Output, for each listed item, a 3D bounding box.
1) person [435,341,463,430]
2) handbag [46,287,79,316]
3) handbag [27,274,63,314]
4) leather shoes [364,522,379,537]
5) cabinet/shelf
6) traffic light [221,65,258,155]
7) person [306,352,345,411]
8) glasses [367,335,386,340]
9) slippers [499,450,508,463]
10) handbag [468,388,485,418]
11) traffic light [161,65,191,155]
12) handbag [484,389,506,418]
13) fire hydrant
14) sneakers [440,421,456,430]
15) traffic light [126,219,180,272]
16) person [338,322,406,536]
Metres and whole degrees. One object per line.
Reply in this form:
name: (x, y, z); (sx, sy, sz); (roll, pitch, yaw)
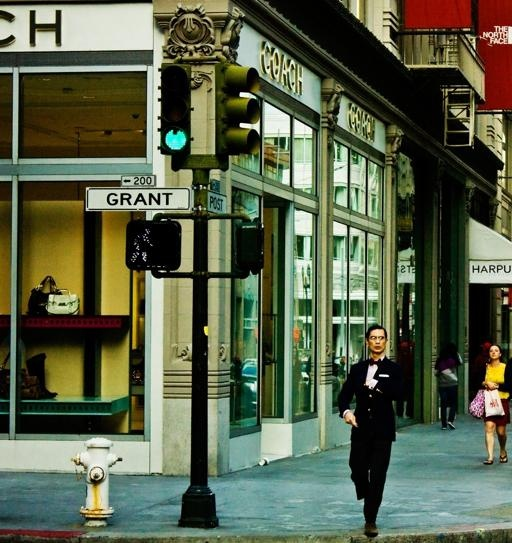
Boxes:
person: (3.516, 2.085, 25.139); (0.439, 1.562, 1.043); (-2, -5, 8)
handbag: (-2.376, 0.384, 17.010); (0.438, 0.423, 0.245); (0, -8, -3)
handbag: (-2.611, 0.289, 17.009); (0.362, 0.560, 0.219); (4, -9, -6)
leather shoes: (1.066, 2.403, 12.796); (0.123, 0.116, 0.180); (-2, -6, 5)
cabinet/shelf: (-2.222, 0.932, 16.877); (1.468, 1.723, 0.534); (-1, -6, 9)
traffic light: (-0.164, -1.535, 13.025); (0.312, 0.894, 0.313); (1, 0, 8)
person: (0.938, 1.568, 20.610); (0.412, 0.896, 0.478); (-13, -11, 30)
glasses: (1.154, 0.631, 13.163); (0.145, 0.056, 0.059); (-1, -5, -5)
slippers: (3.415, 2.542, 19.026); (0.079, 0.106, 0.254); (-2, 13, 8)
handbag: (3.055, 1.820, 19.057); (0.210, 0.396, 0.489); (-2, -6, 8)
traffic light: (-0.756, -1.534, 12.907); (0.271, 0.816, 0.233); (-1, -5, -8)
handbag: (3.243, 1.787, 18.797); (0.282, 0.529, 0.159); (-4, -12, -7)
fire hydrant: (-1.515, 1.994, 13.079); (0.421, 0.818, 0.351); (-1, -5, -9)
sneakers: (3.491, 2.783, 25.024); (0.107, 0.148, 0.338); (0, 1, 22)
traffic light: (-0.962, -0.255, 12.966); (0.411, 0.483, 0.150); (0, 2, 8)
person: (1.054, 1.504, 13.185); (0.560, 1.969, 0.598); (-6, -7, 44)
